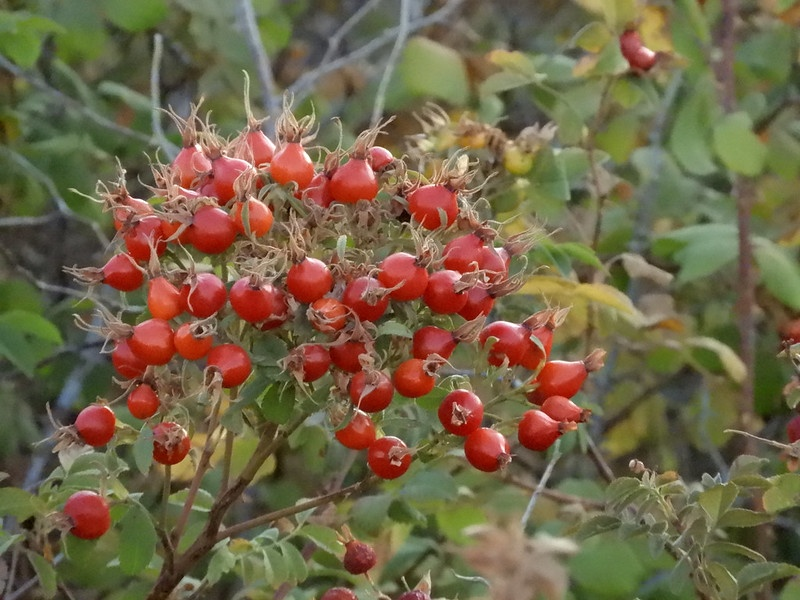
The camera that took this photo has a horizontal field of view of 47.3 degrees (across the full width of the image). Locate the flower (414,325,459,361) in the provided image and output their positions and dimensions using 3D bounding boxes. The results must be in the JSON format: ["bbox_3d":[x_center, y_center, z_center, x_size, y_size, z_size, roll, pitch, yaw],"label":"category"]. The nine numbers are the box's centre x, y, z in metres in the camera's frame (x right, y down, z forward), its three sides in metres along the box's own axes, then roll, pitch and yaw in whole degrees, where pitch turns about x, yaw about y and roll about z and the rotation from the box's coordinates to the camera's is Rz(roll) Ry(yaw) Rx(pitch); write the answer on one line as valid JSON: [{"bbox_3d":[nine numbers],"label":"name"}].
[{"bbox_3d":[0.054,0.065,1.446,0.077,0.055,0.050,-14,77,20],"label":"flower"}]

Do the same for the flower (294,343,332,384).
[{"bbox_3d":[-0.125,0.094,1.371,0.052,0.062,0.044,-5,64,-13],"label":"flower"}]

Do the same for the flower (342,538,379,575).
[{"bbox_3d":[-0.068,0.427,1.543,0.048,0.041,0.060,-43,74,-4],"label":"flower"}]

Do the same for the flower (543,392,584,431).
[{"bbox_3d":[0.259,0.175,1.431,0.062,0.028,0.043,16,32,-2],"label":"flower"}]

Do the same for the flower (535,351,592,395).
[{"bbox_3d":[0.268,0.130,1.495,0.075,0.054,0.053,-27,33,1],"label":"flower"}]

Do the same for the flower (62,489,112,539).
[{"bbox_3d":[-0.498,0.338,1.454,0.058,0.067,0.056,32,59,13],"label":"flower"}]

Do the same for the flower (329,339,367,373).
[{"bbox_3d":[-0.079,0.083,1.365,0.053,0.049,0.035,12,62,-4],"label":"flower"}]

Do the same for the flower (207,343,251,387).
[{"bbox_3d":[-0.256,0.097,1.367,0.040,0.039,0.048,37,44,18],"label":"flower"}]

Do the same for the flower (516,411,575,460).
[{"bbox_3d":[0.228,0.202,1.418,0.118,0.067,0.068,-4,15,-1],"label":"flower"}]

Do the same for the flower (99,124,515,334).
[{"bbox_3d":[-0.146,-0.105,1.420,0.478,0.179,0.439,4,16,-8],"label":"flower"}]
